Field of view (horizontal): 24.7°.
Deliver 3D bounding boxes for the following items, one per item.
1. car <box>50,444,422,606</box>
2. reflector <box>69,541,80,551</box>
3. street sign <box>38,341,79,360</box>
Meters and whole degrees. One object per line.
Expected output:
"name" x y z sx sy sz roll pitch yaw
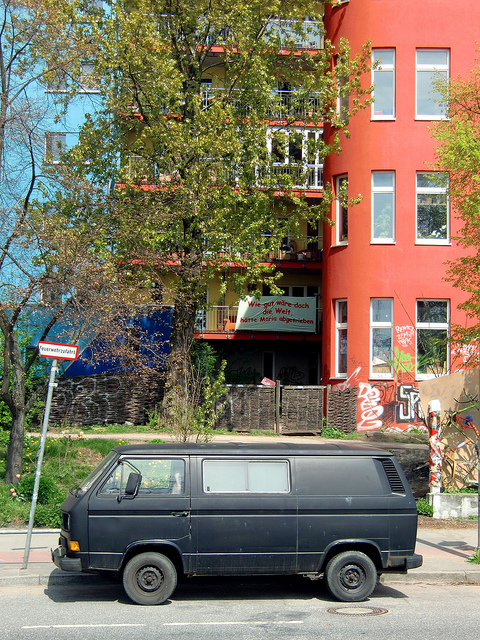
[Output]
"car" -0.142 2.703 15.112 5.188 2.075 2.042 3 -3 -21
"reflector" -2.106 2.877 13.978 0.089 0.123 0.106 -3 -8 7
"street sign" -2.679 0.446 16.076 0.595 0.223 0.448 4 -5 -25
